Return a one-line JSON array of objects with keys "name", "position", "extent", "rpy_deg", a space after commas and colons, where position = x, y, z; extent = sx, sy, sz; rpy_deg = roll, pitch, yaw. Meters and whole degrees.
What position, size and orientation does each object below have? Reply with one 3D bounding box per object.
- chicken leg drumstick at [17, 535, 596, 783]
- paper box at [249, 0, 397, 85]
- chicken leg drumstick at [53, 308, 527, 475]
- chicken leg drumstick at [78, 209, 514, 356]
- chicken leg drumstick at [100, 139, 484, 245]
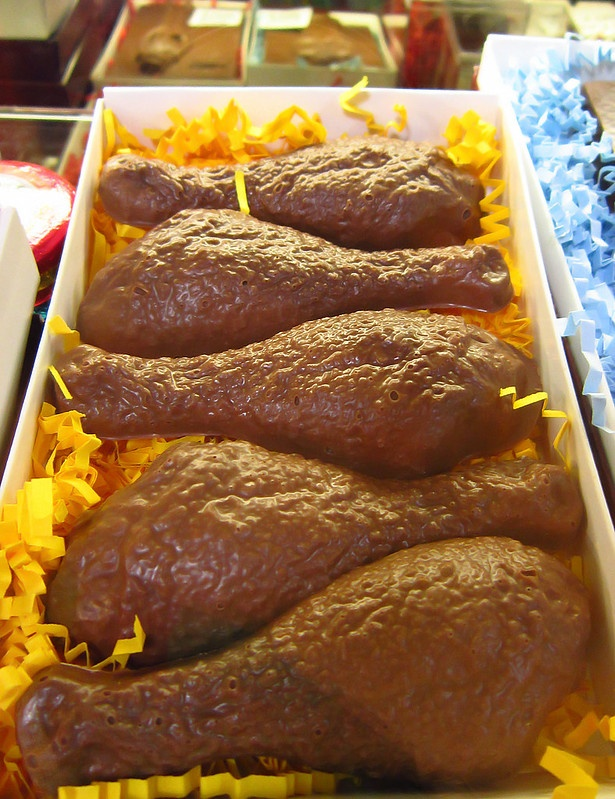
[{"name": "chicken leg drumstick", "position": [0.013, 0.192, 0.559], "extent": [0.381, 0.134, 0.140], "rpy_deg": [0, 46, -4]}, {"name": "paper box", "position": [0.020, -0.603, 1.306], "extent": [0.257, 0.087, 0.265], "rpy_deg": [0, 41, -5]}, {"name": "chicken leg drumstick", "position": [-0.016, 0.012, 0.669], "extent": [0.369, 0.104, 0.147], "rpy_deg": [4, 42, 0]}, {"name": "chicken leg drumstick", "position": [-0.015, -0.092, 0.734], "extent": [0.403, 0.090, 0.150], "rpy_deg": [-2, 45, 1]}, {"name": "chicken leg drumstick", "position": [-0.016, -0.200, 0.810], "extent": [0.375, 0.077, 0.142], "rpy_deg": [-3, 38, -6]}]
